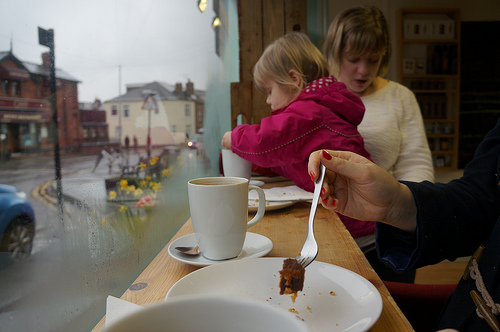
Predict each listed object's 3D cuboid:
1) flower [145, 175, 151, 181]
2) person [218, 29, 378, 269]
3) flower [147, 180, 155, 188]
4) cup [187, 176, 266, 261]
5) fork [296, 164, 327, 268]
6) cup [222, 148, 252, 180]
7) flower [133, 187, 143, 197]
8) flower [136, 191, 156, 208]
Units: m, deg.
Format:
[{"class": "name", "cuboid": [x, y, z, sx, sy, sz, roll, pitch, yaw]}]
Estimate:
[{"class": "flower", "cuboid": [-0.262, 0.029, 0.869, 0.012, 0.011, 0.014, 1, -3, 1]}, {"class": "person", "cuboid": [0.247, -0.054, 1.538, 0.583, 0.994, 0.579, -6, -5, -7]}, {"class": "flower", "cuboid": [-0.257, 0.045, 0.882, 0.017, 0.019, 0.024, 0, -3, 5]}, {"class": "cup", "cuboid": [-0.051, 0.120, 0.771, 0.172, 0.175, 0.113, -1, -2, -38]}, {"class": "fork", "cuboid": [0.125, 0.125, 0.665, 0.039, 0.275, 0.035, 12, -33, 2]}, {"class": "cup", "cuboid": [-0.055, -0.004, 1.307, 0.076, 0.122, 0.129, -1, 0, -9]}, {"class": "flower", "cuboid": [-0.263, 0.060, 0.794, 0.014, 0.013, 0.015, 2, -7, 11]}, {"class": "flower", "cuboid": [-0.256, 0.082, 0.829, 0.035, 0.038, 0.049, -1, -7, -6]}]
